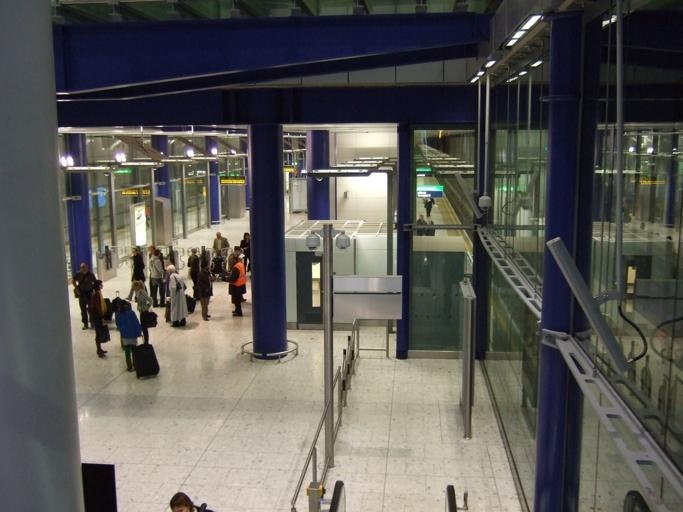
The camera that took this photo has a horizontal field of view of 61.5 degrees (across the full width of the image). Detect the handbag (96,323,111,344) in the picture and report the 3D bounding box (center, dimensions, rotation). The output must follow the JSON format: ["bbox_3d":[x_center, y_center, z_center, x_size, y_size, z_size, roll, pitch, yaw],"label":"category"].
[{"bbox_3d":[-5.730,1.858,13.720,0.283,0.522,0.426,-5,11,-24],"label":"handbag"}]

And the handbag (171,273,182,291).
[{"bbox_3d":[-4.458,0.725,15.391,0.315,0.321,0.187,-19,30,-36],"label":"handbag"}]

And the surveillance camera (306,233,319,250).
[{"bbox_3d":[-0.436,-0.203,8.626,0.218,0.331,0.232,-1,5,8],"label":"surveillance camera"}]

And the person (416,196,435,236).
[{"bbox_3d":[1.887,-0.887,12.829,0.402,0.889,0.121,1,10,9],"label":"person"}]

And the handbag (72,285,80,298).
[{"bbox_3d":[-7.096,0.972,15.324,0.101,0.354,0.349,-7,12,-32],"label":"handbag"}]

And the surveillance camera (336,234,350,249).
[{"bbox_3d":[0.018,-0.218,8.708,0.190,0.245,0.226,-1,0,2],"label":"surveillance camera"}]

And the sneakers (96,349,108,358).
[{"bbox_3d":[-5.701,2.313,13.672,0.133,0.235,0.246,5,13,25],"label":"sneakers"}]
